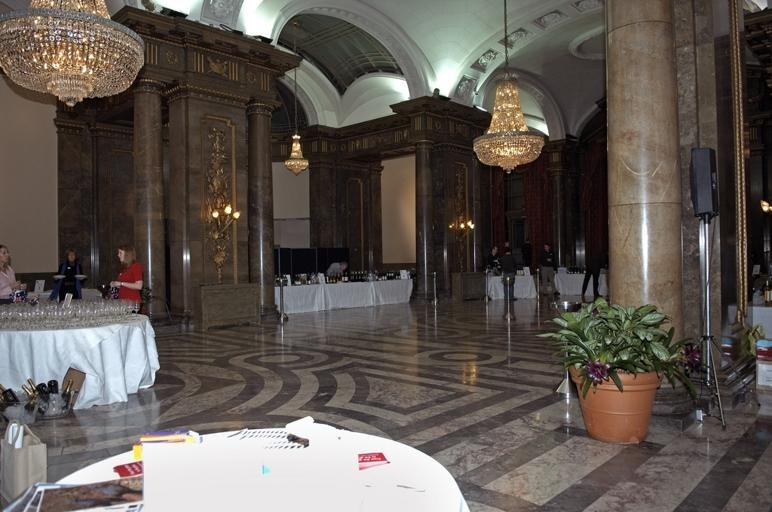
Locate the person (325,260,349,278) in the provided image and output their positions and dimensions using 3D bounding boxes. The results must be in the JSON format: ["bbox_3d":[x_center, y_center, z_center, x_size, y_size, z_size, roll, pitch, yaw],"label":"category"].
[{"bbox_3d":[-1.356,0.355,15.152,0.518,0.411,1.550,-2,4,-7],"label":"person"}]

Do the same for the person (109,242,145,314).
[{"bbox_3d":[-3.559,0.498,7.707,0.459,1.284,0.400,14,16,40],"label":"person"}]

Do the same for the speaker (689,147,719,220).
[{"bbox_3d":[3.194,-0.724,5.632,0.239,0.712,0.196,1,5,27],"label":"speaker"}]

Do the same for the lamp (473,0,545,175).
[{"bbox_3d":[2.507,-2.935,11.448,1.362,2.328,1.047,0,4,14],"label":"lamp"}]

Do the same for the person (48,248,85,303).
[{"bbox_3d":[-5.400,0.439,9.503,0.452,0.985,0.488,9,12,-22],"label":"person"}]

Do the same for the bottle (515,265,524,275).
[{"bbox_3d":[4.244,0.463,17.837,0.249,0.245,0.324,0,-11,2],"label":"bottle"}]

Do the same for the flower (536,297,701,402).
[{"bbox_3d":[2.317,0.829,5.344,1.249,0.747,1.138,7,-6,-32],"label":"flower"}]

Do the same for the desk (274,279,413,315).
[{"bbox_3d":[-0.938,1.009,14.562,4.127,0.866,0.305,-5,6,-43],"label":"desk"}]

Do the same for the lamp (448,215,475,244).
[{"bbox_3d":[2.333,-0.816,17.395,0.746,1.243,0.743,4,-6,-32],"label":"lamp"}]

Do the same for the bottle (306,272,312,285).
[{"bbox_3d":[-1.870,0.574,13.864,0.133,0.201,0.480,-2,4,-7],"label":"bottle"}]

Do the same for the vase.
[{"bbox_3d":[2.100,1.321,5.175,0.678,0.520,0.683,0,-11,0],"label":"vase"}]
